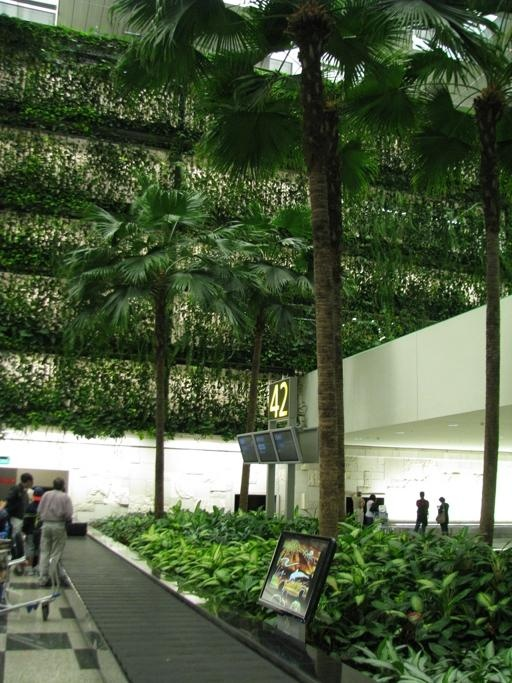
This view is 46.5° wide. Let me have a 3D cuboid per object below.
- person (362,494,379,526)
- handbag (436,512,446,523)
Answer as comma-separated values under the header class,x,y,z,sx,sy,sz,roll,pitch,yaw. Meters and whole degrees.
class,x,y,z,sx,sy,sz,roll,pitch,yaw
person,2.837,4.133,14.696,0.376,0.654,1.279,0,-6,11
handbag,4.206,4.021,13.524,0.204,0.299,0.321,-1,-6,15
